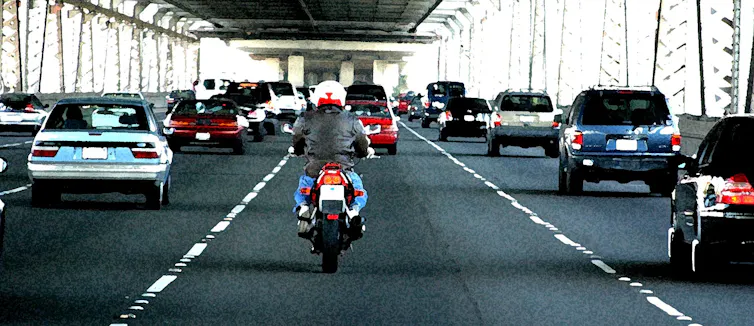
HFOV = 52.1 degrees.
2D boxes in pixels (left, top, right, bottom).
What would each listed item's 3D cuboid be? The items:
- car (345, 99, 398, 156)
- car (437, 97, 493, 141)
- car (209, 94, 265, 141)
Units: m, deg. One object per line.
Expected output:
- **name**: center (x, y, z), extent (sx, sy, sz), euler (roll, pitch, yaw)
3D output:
- **car**: center (0.066, -1.906, 38.942), extent (2.713, 2.183, 6.073), euler (0, 2, -3)
- **car**: center (5.439, -3.074, 47.931), extent (3.178, 2.078, 4.862), euler (-1, 11, -1)
- **car**: center (-7.179, -2.309, 39.551), extent (3.234, 2.737, 6.987), euler (-1, 1, -17)
